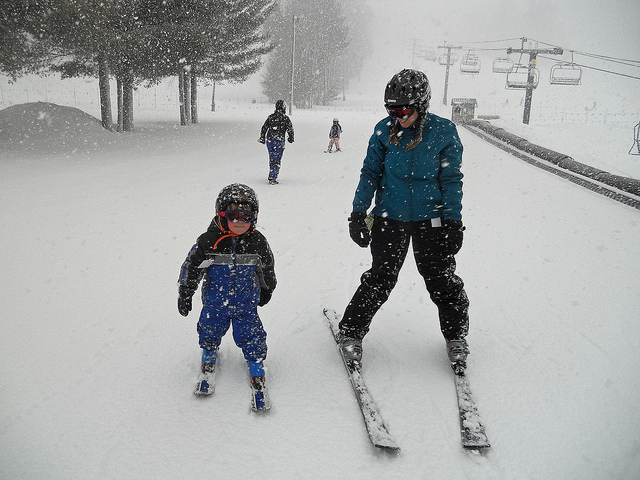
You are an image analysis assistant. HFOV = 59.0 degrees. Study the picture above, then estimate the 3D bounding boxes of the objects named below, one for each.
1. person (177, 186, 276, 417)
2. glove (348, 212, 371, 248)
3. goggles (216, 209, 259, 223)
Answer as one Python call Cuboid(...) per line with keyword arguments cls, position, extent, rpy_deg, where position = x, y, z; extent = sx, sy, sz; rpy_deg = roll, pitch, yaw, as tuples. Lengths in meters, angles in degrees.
Cuboid(cls="person", position=(-0.897, 0.507, 5.450), extent=(0.878, 1.986, 0.484), rpy_deg=(2, 12, 4))
Cuboid(cls="glove", position=(0.416, -0.114, 5.919), extent=(0.276, 0.445, 0.122), rpy_deg=(-1, -18, 5))
Cuboid(cls="goggles", position=(-0.814, -0.246, 5.433), extent=(0.388, 0.126, 0.156), rpy_deg=(2, 14, 1))
